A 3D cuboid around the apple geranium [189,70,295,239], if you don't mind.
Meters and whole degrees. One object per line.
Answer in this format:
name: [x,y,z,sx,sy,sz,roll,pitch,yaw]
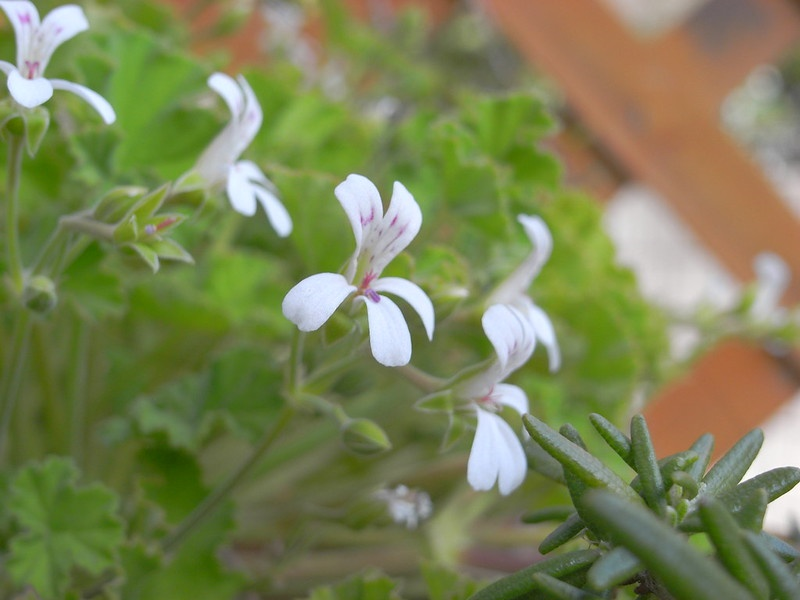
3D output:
apple geranium: [-0.146,-0.126,0.940,0.030,0.086,0.153,5,-55,47]
